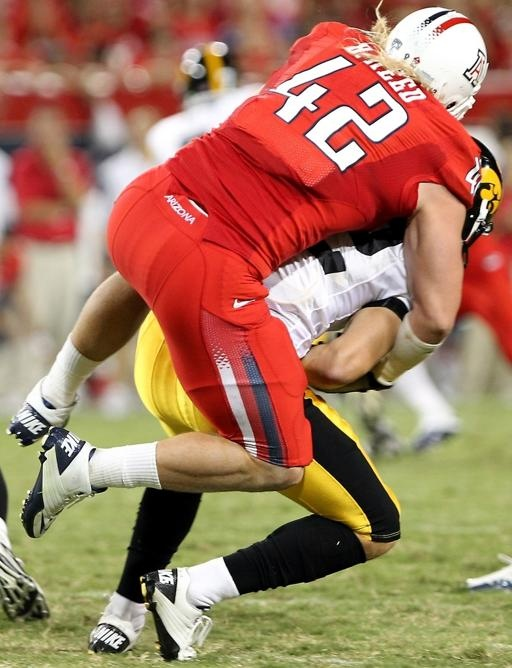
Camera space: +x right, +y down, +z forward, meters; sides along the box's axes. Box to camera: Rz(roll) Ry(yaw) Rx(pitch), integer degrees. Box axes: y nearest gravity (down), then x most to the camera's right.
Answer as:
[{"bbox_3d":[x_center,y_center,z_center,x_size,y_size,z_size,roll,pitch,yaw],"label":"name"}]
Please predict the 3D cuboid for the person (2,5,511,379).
[{"bbox_3d":[0.082,-0.240,1.353,0.698,0.680,0.349,-21,16,-14],"label":"person"}]

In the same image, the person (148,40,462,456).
[{"bbox_3d":[0.009,-0.199,1.557,0.757,0.585,0.585,-44,54,-2],"label":"person"}]

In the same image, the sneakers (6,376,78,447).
[{"bbox_3d":[-0.462,0.165,1.579,0.185,0.089,0.065,-37,-13,-38],"label":"sneakers"}]

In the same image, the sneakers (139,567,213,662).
[{"bbox_3d":[-0.137,0.502,1.330,0.122,0.195,0.074,-15,7,2],"label":"sneakers"}]

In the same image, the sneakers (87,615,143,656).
[{"bbox_3d":[-0.270,0.585,1.389,0.055,0.039,0.120,-39,-5,6],"label":"sneakers"}]
